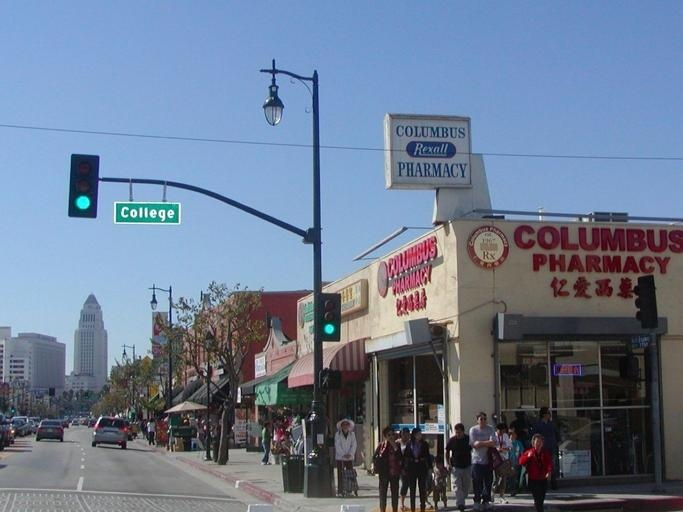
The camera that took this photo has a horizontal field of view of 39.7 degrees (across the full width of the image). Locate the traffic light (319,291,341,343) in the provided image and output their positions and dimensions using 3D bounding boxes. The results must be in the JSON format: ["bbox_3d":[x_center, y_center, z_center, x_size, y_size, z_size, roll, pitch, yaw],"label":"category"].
[{"bbox_3d":[-0.348,1.670,26.601,0.591,1.374,0.354,3,-12,-9],"label":"traffic light"}]

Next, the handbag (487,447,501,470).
[{"bbox_3d":[3.863,5.147,23.990,0.392,0.538,0.151,7,-14,-26],"label":"handbag"}]

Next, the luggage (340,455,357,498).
[{"bbox_3d":[0.238,6.108,27.125,0.381,1.513,0.282,-1,13,-1],"label":"luggage"}]

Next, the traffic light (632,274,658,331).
[{"bbox_3d":[8.078,1.175,25.212,0.517,1.439,0.777,-3,-13,17],"label":"traffic light"}]

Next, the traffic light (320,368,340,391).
[{"bbox_3d":[-0.311,3.435,26.620,0.522,0.555,0.453,-1,-14,8],"label":"traffic light"}]

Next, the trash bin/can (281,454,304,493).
[{"bbox_3d":[-1.423,6.346,27.592,0.737,1.284,0.898,1,-12,4],"label":"trash bin/can"}]

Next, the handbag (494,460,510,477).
[{"bbox_3d":[4.045,5.410,24.056,0.287,0.439,0.528,-10,-13,42],"label":"handbag"}]

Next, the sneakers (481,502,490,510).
[{"bbox_3d":[3.653,6.319,23.926,0.129,0.288,0.145,-1,-22,-15],"label":"sneakers"}]

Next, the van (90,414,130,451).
[{"bbox_3d":[-13.390,10.232,55.092,1.208,1.206,2.930,1,-2,-10],"label":"van"}]
